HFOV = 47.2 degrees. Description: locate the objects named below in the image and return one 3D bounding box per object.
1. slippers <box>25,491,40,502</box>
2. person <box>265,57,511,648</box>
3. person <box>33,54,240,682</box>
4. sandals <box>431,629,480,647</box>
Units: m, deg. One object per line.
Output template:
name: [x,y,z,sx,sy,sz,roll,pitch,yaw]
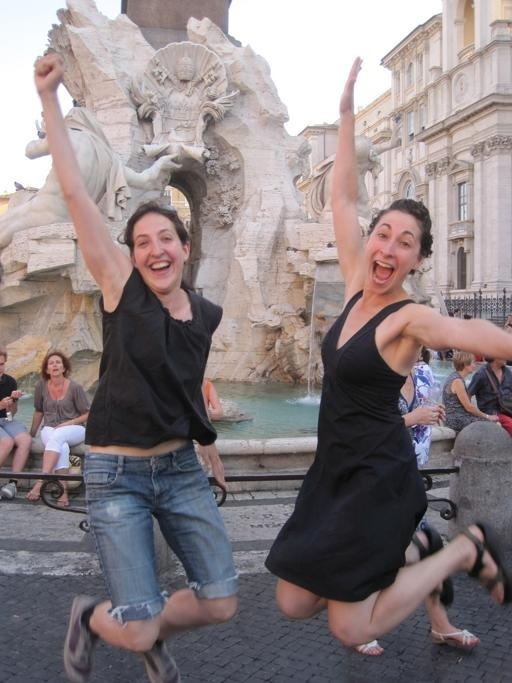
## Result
slippers: [-1.961,1.359,5.146,0.116,0.064,0.252,2,-8,-8]
person: [0.458,-0.064,2.028,0.841,2.212,0.953,1,1,9]
person: [-0.343,0.328,1.965,0.544,1.643,0.424,0,1,-29]
sandals: [0.918,1.363,2.686,0.179,0.057,0.088,-4,2,12]
